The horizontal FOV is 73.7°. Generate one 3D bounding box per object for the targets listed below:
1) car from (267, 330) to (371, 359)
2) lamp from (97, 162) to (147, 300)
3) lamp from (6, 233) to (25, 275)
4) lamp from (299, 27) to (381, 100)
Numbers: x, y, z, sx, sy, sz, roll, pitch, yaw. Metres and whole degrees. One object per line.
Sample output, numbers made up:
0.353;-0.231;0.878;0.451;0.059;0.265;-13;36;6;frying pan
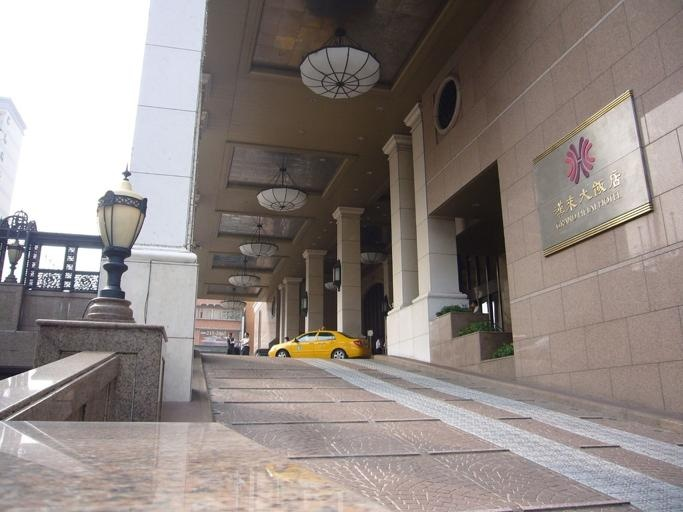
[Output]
-1.073;4.006;20.827;5.141;1.348;0.857;-3;-10;38;car
-2.652;-0.173;5.402;0.512;1.312;0.311;7;-9;-28;lamp
-11.507;-0.007;16.031;0.501;1.755;2.148;9;-9;-36;lamp
-0.046;-6.153;14.241;2.182;1.700;2.177;2;-35;-2;lamp
